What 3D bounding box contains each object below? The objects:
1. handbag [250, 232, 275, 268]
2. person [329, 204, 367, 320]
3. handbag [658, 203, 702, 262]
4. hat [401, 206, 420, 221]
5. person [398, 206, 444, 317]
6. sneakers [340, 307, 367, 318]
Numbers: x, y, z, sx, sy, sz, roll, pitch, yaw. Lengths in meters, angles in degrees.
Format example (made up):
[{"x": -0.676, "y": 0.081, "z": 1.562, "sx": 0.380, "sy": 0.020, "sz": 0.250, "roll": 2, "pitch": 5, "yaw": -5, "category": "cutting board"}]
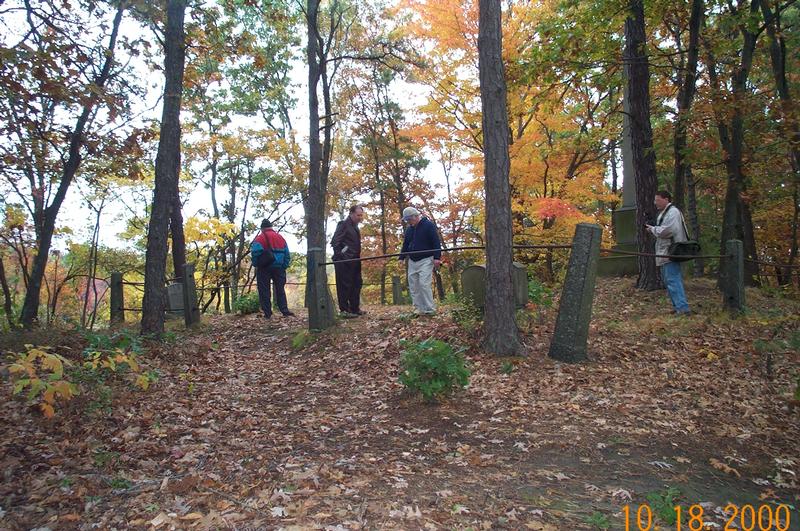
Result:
[{"x": -3.406, "y": -0.410, "z": 15.046, "sx": 0.531, "sy": 0.908, "sz": 0.243, "roll": -3, "pitch": -2, "yaw": -16, "category": "handbag"}, {"x": -1.149, "y": -0.109, "z": 13.743, "sx": 0.733, "sy": 1.689, "sz": 0.973, "roll": -3, "pitch": -2, "yaw": -3, "category": "person"}, {"x": 6.022, "y": -0.717, "z": 13.098, "sx": 0.739, "sy": 1.243, "sz": 1.127, "roll": -4, "pitch": -2, "yaw": 22, "category": "handbag"}, {"x": 0.232, "y": -1.113, "z": 13.308, "sx": 0.390, "sy": 0.229, "sz": 0.295, "roll": -1, "pitch": 30, "yaw": 9, "category": "hat"}, {"x": 0.464, "y": -0.122, "z": 13.305, "sx": 0.847, "sy": 1.769, "sz": 1.056, "roll": -4, "pitch": -2, "yaw": 2, "category": "person"}, {"x": -1.077, "y": 1.106, "z": 13.797, "sx": 0.616, "sy": 0.279, "sz": 0.213, "roll": -12, "pitch": -8, "yaw": 30, "category": "sneakers"}]
